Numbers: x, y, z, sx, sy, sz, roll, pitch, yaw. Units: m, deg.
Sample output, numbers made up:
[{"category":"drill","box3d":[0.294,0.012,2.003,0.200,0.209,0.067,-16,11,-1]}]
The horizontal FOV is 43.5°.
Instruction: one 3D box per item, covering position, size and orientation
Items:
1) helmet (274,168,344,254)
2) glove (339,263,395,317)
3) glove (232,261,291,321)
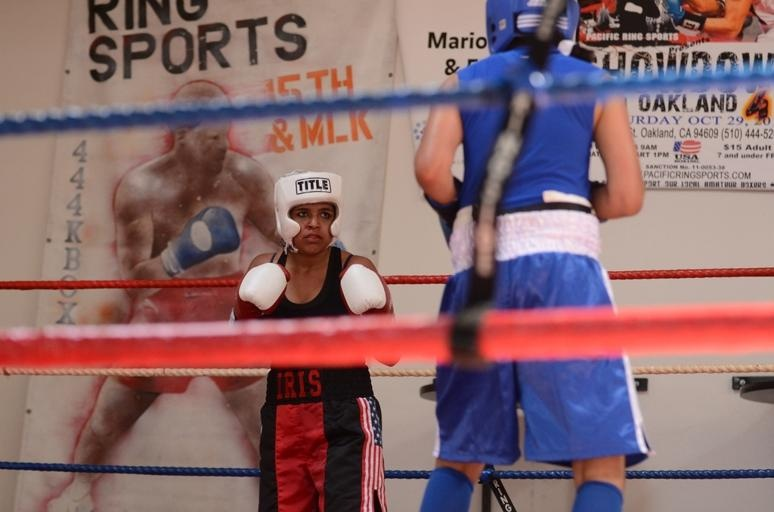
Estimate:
[{"category":"helmet","box3d":[-0.317,-0.185,3.695,0.245,0.277,0.299,1,-13,-10]},{"category":"glove","box3d":[-0.076,0.117,3.523,0.155,0.193,0.078,-14,-17,-20]},{"category":"glove","box3d":[-0.455,0.128,3.512,0.164,0.216,0.080,40,2,13]}]
